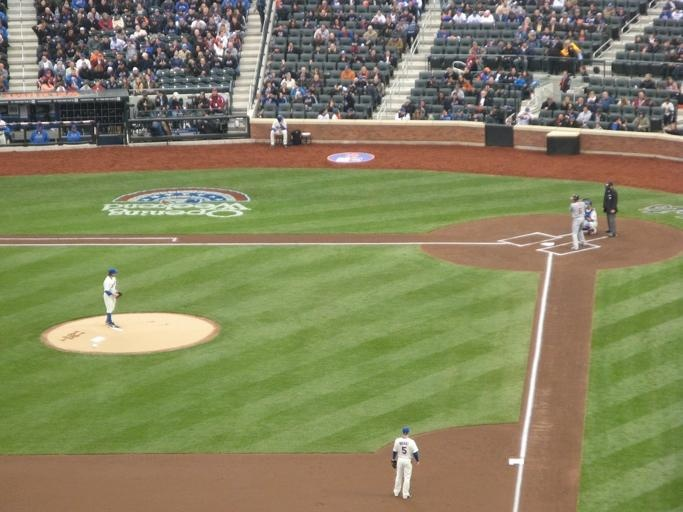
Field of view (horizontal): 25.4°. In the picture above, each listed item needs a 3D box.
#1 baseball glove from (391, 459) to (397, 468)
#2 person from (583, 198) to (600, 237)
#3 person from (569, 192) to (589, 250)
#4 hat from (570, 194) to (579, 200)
[{"bbox_3d":[1.396,5.590,41.344,0.167,0.214,0.081,3,12,26],"label":"baseball glove"},{"bbox_3d":[8.770,-1.451,54.347,0.731,1.156,0.807,-7,16,-7],"label":"person"},{"bbox_3d":[8.256,-1.245,53.319,0.599,1.941,0.776,10,16,16],"label":"person"},{"bbox_3d":[8.093,-2.062,52.991,0.279,0.278,0.329,2,9,4],"label":"hat"}]
